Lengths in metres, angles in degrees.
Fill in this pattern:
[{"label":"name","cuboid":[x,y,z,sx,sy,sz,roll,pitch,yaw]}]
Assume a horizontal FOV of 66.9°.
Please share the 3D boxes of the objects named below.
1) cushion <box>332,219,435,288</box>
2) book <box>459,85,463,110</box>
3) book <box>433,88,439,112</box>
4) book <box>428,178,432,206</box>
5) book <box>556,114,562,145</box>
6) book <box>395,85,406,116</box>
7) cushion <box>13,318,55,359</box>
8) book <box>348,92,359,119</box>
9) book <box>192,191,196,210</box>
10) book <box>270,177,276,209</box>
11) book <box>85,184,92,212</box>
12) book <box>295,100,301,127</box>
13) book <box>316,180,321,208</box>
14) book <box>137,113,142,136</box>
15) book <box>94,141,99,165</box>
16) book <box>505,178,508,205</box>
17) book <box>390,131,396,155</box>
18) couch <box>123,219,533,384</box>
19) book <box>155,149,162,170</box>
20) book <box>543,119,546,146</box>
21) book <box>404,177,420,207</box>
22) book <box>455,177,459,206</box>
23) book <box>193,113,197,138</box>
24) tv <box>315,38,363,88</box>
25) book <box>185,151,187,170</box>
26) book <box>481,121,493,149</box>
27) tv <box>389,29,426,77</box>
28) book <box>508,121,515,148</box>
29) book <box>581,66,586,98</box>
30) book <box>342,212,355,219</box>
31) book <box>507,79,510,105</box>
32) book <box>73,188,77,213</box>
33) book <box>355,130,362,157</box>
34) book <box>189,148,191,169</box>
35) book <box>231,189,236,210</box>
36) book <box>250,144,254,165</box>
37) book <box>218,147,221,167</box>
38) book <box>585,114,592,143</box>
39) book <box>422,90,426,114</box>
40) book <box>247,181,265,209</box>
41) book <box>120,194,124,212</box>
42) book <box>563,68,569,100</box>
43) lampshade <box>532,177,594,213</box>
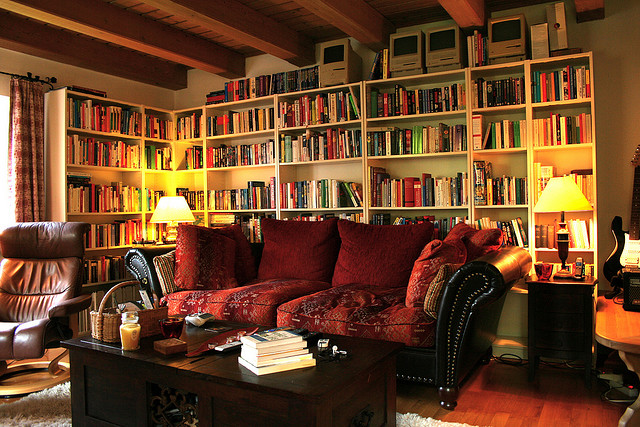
[{"label":"cushion","cuboid":[0.573,0.381,4.374,0.684,0.473,0.248,-1,-36,27]},{"label":"book","cuboid":[1.388,-1.146,4.773,0.033,0.242,0.071,0,7,6]},{"label":"book","cuboid":[1.162,-1.135,4.852,0.041,0.233,0.060,-4,8,-22]},{"label":"book","cuboid":[1.114,-0.216,4.901,0.042,0.270,0.050,1,8,11]},{"label":"book","cuboid":[2.186,-0.764,4.441,0.041,0.343,0.286,-2,-1,28]},{"label":"book","cuboid":[0.828,-1.159,4.989,0.066,0.357,0.344,0,1,20]},{"label":"cushion","cuboid":[-2.282,1.001,3.898,0.376,0.310,0.270,-9,-14,6]},{"label":"book","cuboid":[0.354,-1.160,5.152,0.052,0.202,0.208,-17,10,-4]},{"label":"book","cuboid":[-1.588,-0.160,6.138,0.043,0.159,0.171,0,-4,-9]},{"label":"book","cuboid":[-0.536,-0.234,5.572,0.054,0.359,0.111,-2,8,-12]},{"label":"book","cuboid":[-2.539,-0.171,5.365,0.075,0.305,0.041,-7,10,-39]},{"label":"book","cuboid":[-0.246,-1.115,5.425,0.111,0.278,0.314,0,3,-3]},{"label":"book","cuboid":[-0.013,-0.213,5.370,0.051,0.289,0.081,-1,7,0]},{"label":"book","cuboid":[-2.136,-1.062,5.768,0.055,0.266,0.041,0,8,3]},{"label":"book","cuboid":[-2.500,-0.686,5.464,0.044,0.260,0.061,-6,9,-38]},{"label":"book","cuboid":[1.776,-0.211,4.618,0.044,0.287,0.268,0,-1,21]},{"label":"book","cuboid":[0.757,-0.737,5.022,0.060,0.232,0.030,0,8,8]},{"label":"couch","cuboid":[0.127,0.748,4.231,3.005,1.233,1.134,3,8,25]},{"label":"book","cuboid":[-1.977,-0.669,5.980,0.033,0.246,0.078,2,8,18]},{"label":"book","cuboid":[2.077,-0.757,4.486,0.036,0.303,0.243,0,3,25]},{"label":"book","cuboid":[0.943,-0.214,4.955,0.110,0.282,0.313,1,1,8]},{"label":"book","cuboid":[1.355,-0.218,4.794,0.032,0.276,0.060,-1,7,-4]},{"label":"book","cuboid":[-1.537,-1.081,5.971,0.045,0.286,0.066,-2,8,-13]},{"label":"tv","cuboid":[0.179,-1.621,5.481,0.542,0.530,0.555,-2,-3,35]},{"label":"book","cuboid":[-1.699,-0.679,6.176,0.028,0.214,0.129,-3,8,-14]},{"label":"book","cuboid":[1.627,-0.748,4.702,0.054,0.197,0.221,9,6,15]},{"label":"tv","cuboid":[0.916,-1.621,5.000,0.353,0.418,0.259,-1,3,28]},{"label":"book","cuboid":[1.823,-0.747,4.605,0.049,0.237,0.035,0,8,5]},{"label":"book","cuboid":[2.372,-1.183,4.371,0.042,0.274,0.068,2,8,17]},{"label":"book","cuboid":[0.313,0.024,5.277,0.099,0.064,0.095,-2,3,43]},{"label":"book","cuboid":[1.785,-1.152,4.593,0.020,0.230,0.028,1,8,9]},{"label":"book","cuboid":[-2.636,-0.139,5.232,0.032,0.256,0.062,-1,7,-3]},{"label":"book","cuboid":[0.412,-0.748,5.159,0.072,0.287,0.086,0,7,4]},{"label":"book","cuboid":[-1.624,-0.689,6.085,0.023,0.235,0.056,-2,8,-9]},{"label":"book","cuboid":[-1.034,-0.165,5.822,0.060,0.233,0.057,0,7,3]},{"label":"book","cuboid":[-0.812,-0.699,5.746,0.030,0.229,0.087,-2,7,-8]},{"label":"book","cuboid":[-1.218,-0.692,5.912,0.042,0.159,0.170,2,5,-10]},{"label":"book","cuboid":[2.406,-0.763,4.352,0.040,0.248,0.061,-1,7,-1]},{"label":"book","cuboid":[1.053,-1.128,4.899,0.024,0.235,0.055,-1,8,-5]},{"label":"book","cuboid":[-0.752,-0.217,5.736,0.181,0.317,0.087,-2,8,-10]},{"label":"book","cuboid":[-2.305,-0.121,5.653,0.042,0.203,0.052,-3,8,-20]},{"label":"book","cuboid":[2.237,-1.180,4.415,0.034,0.278,0.065,-2,8,-11]},{"label":"lampshade","cuboid":[2.036,-0.143,4.068,0.364,0.311,0.344,-1,-2,9]}]
